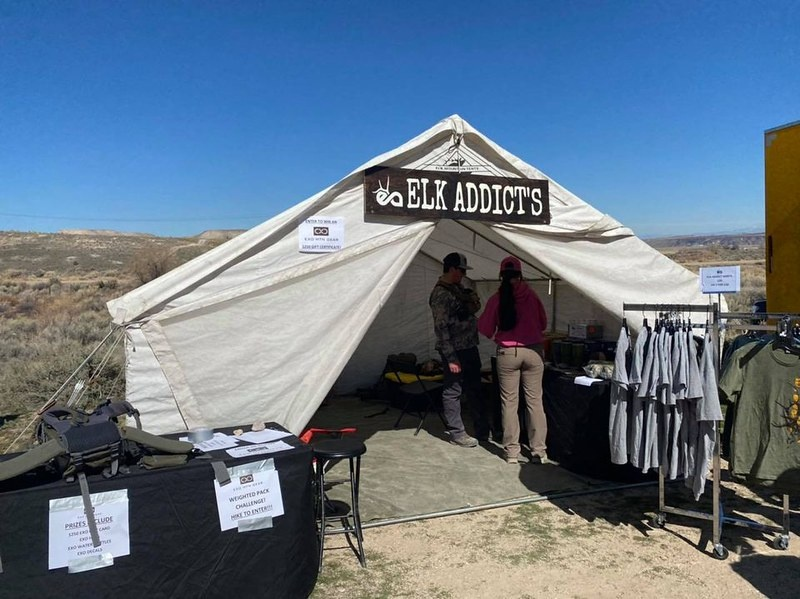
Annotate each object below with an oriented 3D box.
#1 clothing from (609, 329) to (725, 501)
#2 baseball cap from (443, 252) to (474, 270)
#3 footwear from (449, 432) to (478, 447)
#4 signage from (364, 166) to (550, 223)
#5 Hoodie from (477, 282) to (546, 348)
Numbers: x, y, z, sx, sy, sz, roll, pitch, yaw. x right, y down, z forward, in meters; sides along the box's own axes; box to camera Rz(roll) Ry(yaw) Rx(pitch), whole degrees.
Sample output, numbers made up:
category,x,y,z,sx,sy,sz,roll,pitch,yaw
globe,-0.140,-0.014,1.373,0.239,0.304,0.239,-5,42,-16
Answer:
category,x,y,z,sx,sy,sz,roll,pitch,yaw
clothing,2.092,0.858,4.079,0.776,1.373,0.361,2,7,25
baseball cap,0.770,-0.477,6.431,0.418,0.208,0.273,2,10,-15
footwear,0.761,1.703,6.357,0.155,0.154,0.350,2,-5,-45
signage,0.699,-1.088,5.413,2.389,0.475,0.043,-3,7,-32
Hoodie,1.275,0.147,5.782,0.861,0.678,0.443,-5,5,-8
